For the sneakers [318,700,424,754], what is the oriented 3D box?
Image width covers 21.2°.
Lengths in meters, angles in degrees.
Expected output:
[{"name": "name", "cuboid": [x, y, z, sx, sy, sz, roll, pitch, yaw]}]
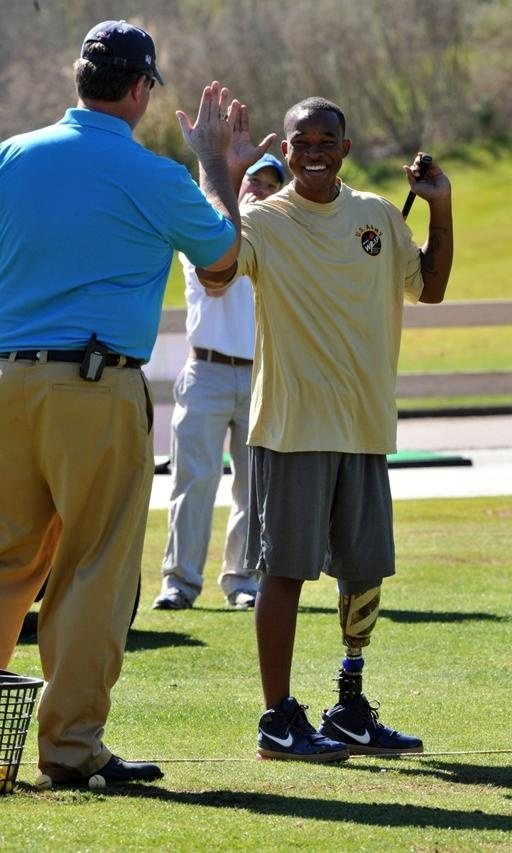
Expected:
[{"name": "sneakers", "cuboid": [0.306, 0.866, 3.946, 0.343, 0.182, 0.121, 1, -5, 2]}]

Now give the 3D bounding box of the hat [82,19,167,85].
[{"name": "hat", "cuboid": [-0.330, -0.985, 3.547, 0.176, 0.125, 0.241, 17, 16, 30]}]

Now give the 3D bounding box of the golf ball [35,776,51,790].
[{"name": "golf ball", "cuboid": [-0.511, 0.850, 3.279, 0.039, 0.027, 0.045, 1, 11, -10]}]

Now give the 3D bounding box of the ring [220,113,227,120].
[{"name": "ring", "cuboid": [-0.093, -0.857, 3.766, 0.025, 0.023, 0.016, -1, 1, -25]}]

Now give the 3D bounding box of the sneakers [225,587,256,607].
[{"name": "sneakers", "cuboid": [-0.081, 0.773, 6.170, 0.092, 0.086, 0.204, 3, -12, -17]}]

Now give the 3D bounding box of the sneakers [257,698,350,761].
[{"name": "sneakers", "cuboid": [0.127, 0.848, 3.806, 0.293, 0.167, 0.118, -9, -15, 37]}]

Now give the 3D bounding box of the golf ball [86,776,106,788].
[{"name": "golf ball", "cuboid": [-0.387, 0.858, 3.308, 0.030, 0.023, 0.029, 1, 6, 0]}]
